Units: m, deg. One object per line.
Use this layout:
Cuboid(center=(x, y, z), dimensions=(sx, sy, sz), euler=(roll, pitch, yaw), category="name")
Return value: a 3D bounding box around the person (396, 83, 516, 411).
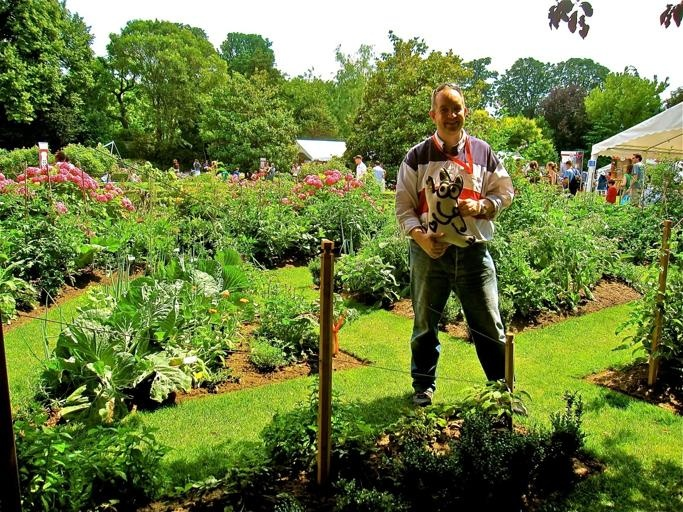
Cuboid(center=(0.839, -0.023, 4.344), dimensions=(0.893, 2.510, 0.608), euler=(3, 12, 5), category="person")
